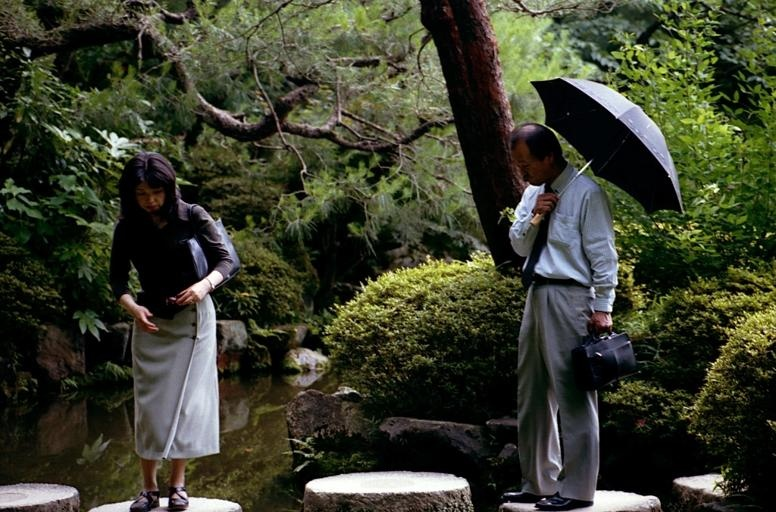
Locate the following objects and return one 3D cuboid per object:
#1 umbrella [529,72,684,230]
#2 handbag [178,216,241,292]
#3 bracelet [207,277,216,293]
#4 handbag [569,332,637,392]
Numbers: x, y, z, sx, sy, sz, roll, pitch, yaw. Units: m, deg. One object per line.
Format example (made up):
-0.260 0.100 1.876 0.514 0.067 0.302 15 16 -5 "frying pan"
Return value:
1.901 -0.943 8.930 0.400 1.229 1.197 -38 30 -12 "umbrella"
-1.475 -0.057 9.182 0.296 0.636 0.673 -14 -5 4 "handbag"
-1.498 0.239 8.861 0.039 0.101 0.081 -18 -9 1 "bracelet"
1.779 0.814 8.751 0.558 0.483 0.282 -14 2 -40 "handbag"
